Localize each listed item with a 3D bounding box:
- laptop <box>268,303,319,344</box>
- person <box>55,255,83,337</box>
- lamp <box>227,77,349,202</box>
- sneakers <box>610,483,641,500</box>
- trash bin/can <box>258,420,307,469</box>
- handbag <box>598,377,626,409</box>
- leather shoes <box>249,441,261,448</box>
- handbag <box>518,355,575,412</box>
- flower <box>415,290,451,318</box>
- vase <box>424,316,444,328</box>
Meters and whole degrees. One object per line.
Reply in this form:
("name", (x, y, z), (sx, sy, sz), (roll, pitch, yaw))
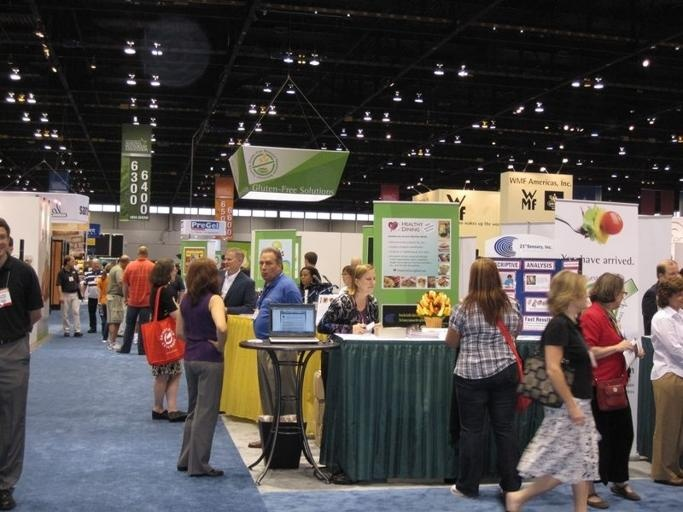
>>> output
("laptop", (-0.373, 0.533, 5.430), (0.375, 0.303, 0.289), (0, -4, -7))
("person", (-5.384, 0.794, 13.637), (0.446, 1.572, 1.089), (1, 1, -23))
("lamp", (-0.760, -1.421, 9.291), (1.228, 1.567, 0.780), (3, -9, -17))
("sneakers", (2.221, 1.816, 5.381), (0.180, 0.090, 0.090), (7, 2, 30))
("trash bin/can", (-0.522, 1.546, 5.840), (0.331, 0.377, 0.417), (1, -5, -3))
("handbag", (2.066, 1.058, 5.261), (0.221, 0.235, 0.117), (-6, -3, -8))
("leather shoes", (-0.801, 1.746, 6.382), (0.125, 0.059, 0.049), (3, -10, 4))
("handbag", (1.431, 0.872, 4.770), (0.236, 0.471, 0.334), (27, -15, -38))
("flower", (0.776, 0.431, 5.916), (0.218, 0.144, 0.244), (2, -6, 0))
("vase", (0.782, 0.563, 5.778), (0.093, 0.069, 0.099), (2, -5, -15))
